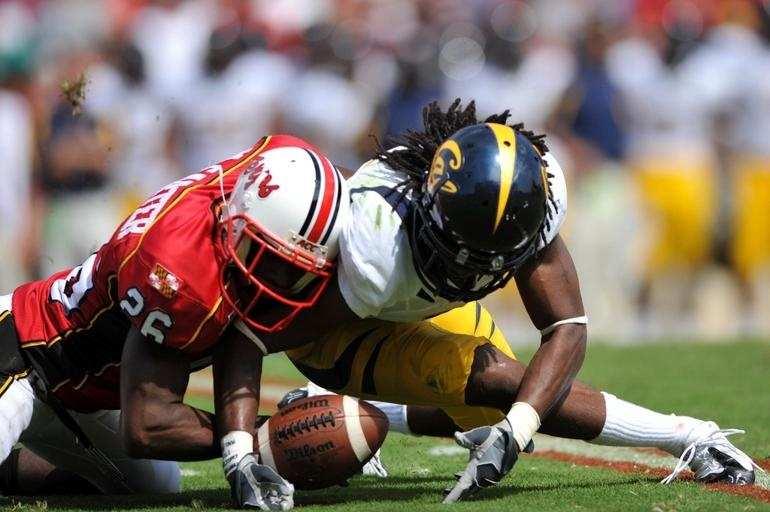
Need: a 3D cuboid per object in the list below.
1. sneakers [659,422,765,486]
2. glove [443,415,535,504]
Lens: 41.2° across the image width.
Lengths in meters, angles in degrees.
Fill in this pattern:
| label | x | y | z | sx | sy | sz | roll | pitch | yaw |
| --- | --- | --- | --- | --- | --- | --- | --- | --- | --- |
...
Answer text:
| label | x | y | z | sx | sy | sz | roll | pitch | yaw |
| --- | --- | --- | --- | --- | --- | --- | --- | --- | --- |
| sneakers | 1.887 | 1.115 | 5.807 | 0.391 | 0.305 | 0.248 | -1 | 6 | 5 |
| glove | 0.548 | 1.085 | 5.549 | 0.321 | 0.482 | 0.188 | 43 | 0 | 13 |
